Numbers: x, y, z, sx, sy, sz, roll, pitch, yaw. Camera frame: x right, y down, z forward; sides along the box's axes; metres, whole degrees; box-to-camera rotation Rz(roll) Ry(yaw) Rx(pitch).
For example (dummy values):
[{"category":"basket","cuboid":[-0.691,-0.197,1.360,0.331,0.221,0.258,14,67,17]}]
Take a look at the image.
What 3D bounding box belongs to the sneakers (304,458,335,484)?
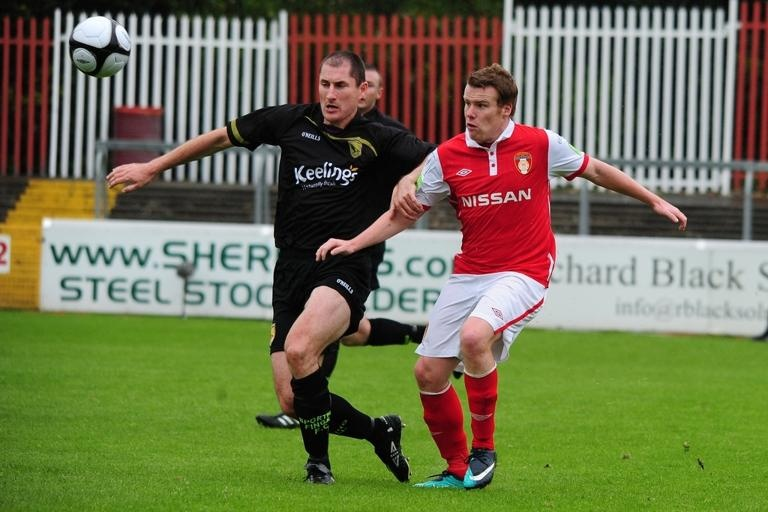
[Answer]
[{"category":"sneakers","cuboid":[-0.446,1.525,8.453,0.200,0.222,0.135,-1,-5,2]}]
